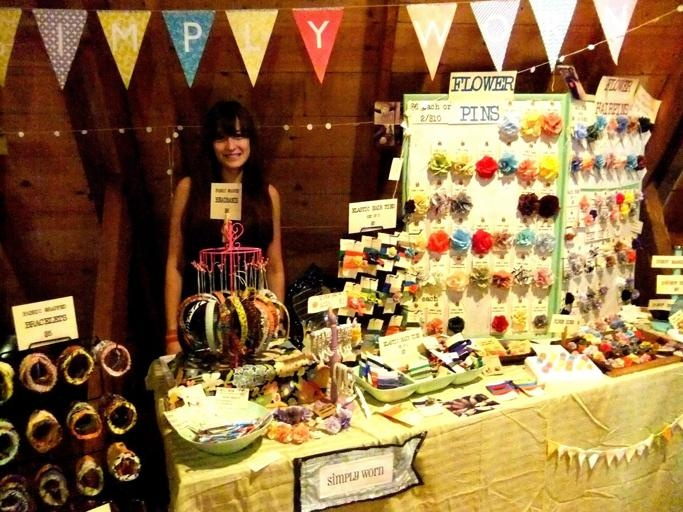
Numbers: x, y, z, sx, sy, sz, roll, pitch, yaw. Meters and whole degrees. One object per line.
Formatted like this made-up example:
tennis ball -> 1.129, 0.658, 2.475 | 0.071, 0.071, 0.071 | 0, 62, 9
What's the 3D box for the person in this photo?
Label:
person -> -0.690, -0.140, 2.749 | 0.694, 1.356, 0.206 | -3, 8, 3
